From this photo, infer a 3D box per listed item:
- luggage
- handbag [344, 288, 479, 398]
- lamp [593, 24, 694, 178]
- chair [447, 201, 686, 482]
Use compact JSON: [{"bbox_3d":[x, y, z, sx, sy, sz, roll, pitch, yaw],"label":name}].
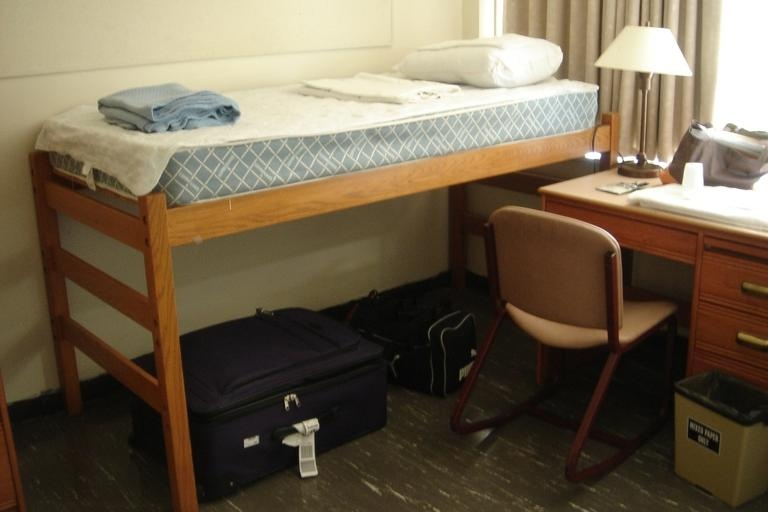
[{"bbox_3d":[-0.599,0.639,3.034,0.815,0.513,1.086,11,16,40],"label":"luggage"},{"bbox_3d":[0.085,0.422,3.423,0.804,0.321,0.677,14,27,24],"label":"handbag"},{"bbox_3d":[1.338,-0.794,3.201,0.452,0.718,0.441,3,22,10],"label":"lamp"},{"bbox_3d":[0.818,0.315,2.777,1.018,1.101,0.950,-8,16,-10],"label":"chair"}]
